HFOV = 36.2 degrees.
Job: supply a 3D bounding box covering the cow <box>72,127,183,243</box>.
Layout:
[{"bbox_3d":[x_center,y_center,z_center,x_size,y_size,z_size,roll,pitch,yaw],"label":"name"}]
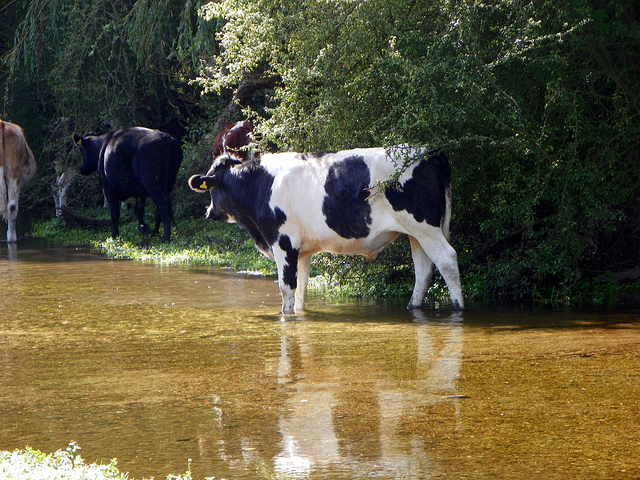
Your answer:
[{"bbox_3d":[-4.683,-1.327,23.911,3.389,2.918,1.388,4,11,41],"label":"cow"}]
